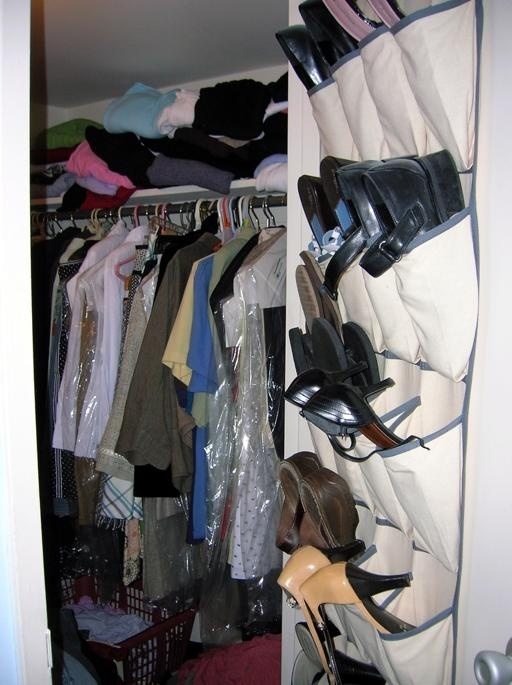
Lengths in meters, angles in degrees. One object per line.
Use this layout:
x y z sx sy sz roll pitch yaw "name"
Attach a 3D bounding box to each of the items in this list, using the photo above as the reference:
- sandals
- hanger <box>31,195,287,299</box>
0.087 -0.009 0.716 0.067 0.222 0.087 -17 -7 19 "sandals"
-0.294 -0.382 1.769 1.120 0.174 0.405 -5 -1 38 "hanger"
